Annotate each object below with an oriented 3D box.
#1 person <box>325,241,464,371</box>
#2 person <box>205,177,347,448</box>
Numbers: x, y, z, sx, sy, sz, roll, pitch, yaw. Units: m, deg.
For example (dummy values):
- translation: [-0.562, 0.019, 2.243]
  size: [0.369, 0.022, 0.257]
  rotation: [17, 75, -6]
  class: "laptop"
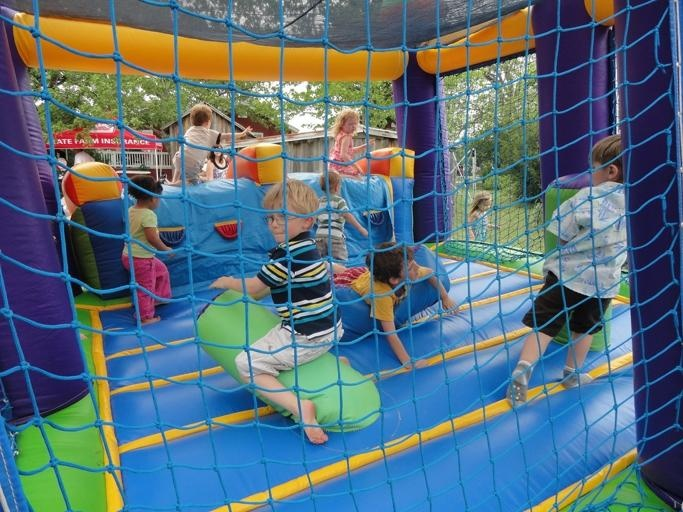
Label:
- translation: [0.303, 0.141, 3.307]
  size: [0.528, 0.766, 0.292]
  rotation: [-25, -43, -43]
  class: "person"
- translation: [-0.255, 0.228, 2.878]
  size: [0.630, 1.284, 0.952]
  rotation: [-2, -22, -11]
  class: "person"
